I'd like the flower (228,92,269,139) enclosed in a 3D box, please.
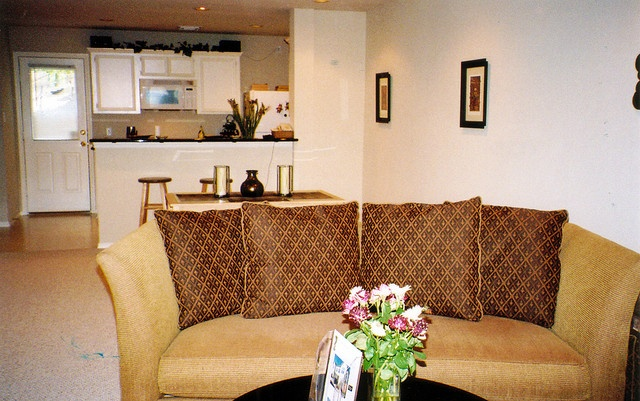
[{"bbox_3d":[-0.974,-1.059,6.723,0.453,0.472,0.449,4,-7,-5],"label":"flower"}]

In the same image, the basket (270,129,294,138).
[{"bbox_3d":[-0.489,-0.885,6.788,0.303,0.115,0.185,1,8,4],"label":"basket"}]

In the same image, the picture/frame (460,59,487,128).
[{"bbox_3d":[1.524,-1.041,4.970,0.085,0.644,0.366,-3,9,-21],"label":"picture/frame"}]

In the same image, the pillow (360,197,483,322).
[{"bbox_3d":[0.755,0.445,3.798,0.896,0.889,0.304,-1,1,16],"label":"pillow"}]

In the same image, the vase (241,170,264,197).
[{"bbox_3d":[-0.646,-0.159,4.889,0.240,0.253,0.240,0,-3,-3],"label":"vase"}]

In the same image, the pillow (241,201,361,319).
[{"bbox_3d":[-0.162,0.461,3.657,0.735,0.621,0.337,-2,19,-13],"label":"pillow"}]

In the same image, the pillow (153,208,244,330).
[{"bbox_3d":[-0.813,0.463,3.623,0.806,0.760,0.243,-9,-1,-23],"label":"pillow"}]

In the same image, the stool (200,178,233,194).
[{"bbox_3d":[-1.126,-0.160,5.510,0.203,0.234,0.187,4,8,26],"label":"stool"}]

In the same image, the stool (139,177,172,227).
[{"bbox_3d":[-2.081,0.042,6.390,0.397,0.615,0.394,1,5,-7],"label":"stool"}]

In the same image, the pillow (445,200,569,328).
[{"bbox_3d":[1.458,0.445,3.627,0.764,0.782,0.231,0,-2,12],"label":"pillow"}]

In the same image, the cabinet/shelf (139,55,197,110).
[{"bbox_3d":[-2.554,-1.945,8.491,0.891,0.843,0.513,-3,10,-21],"label":"cabinet/shelf"}]

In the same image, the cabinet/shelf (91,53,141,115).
[{"bbox_3d":[-3.433,-1.947,8.295,0.754,0.964,0.606,-6,22,-31],"label":"cabinet/shelf"}]
